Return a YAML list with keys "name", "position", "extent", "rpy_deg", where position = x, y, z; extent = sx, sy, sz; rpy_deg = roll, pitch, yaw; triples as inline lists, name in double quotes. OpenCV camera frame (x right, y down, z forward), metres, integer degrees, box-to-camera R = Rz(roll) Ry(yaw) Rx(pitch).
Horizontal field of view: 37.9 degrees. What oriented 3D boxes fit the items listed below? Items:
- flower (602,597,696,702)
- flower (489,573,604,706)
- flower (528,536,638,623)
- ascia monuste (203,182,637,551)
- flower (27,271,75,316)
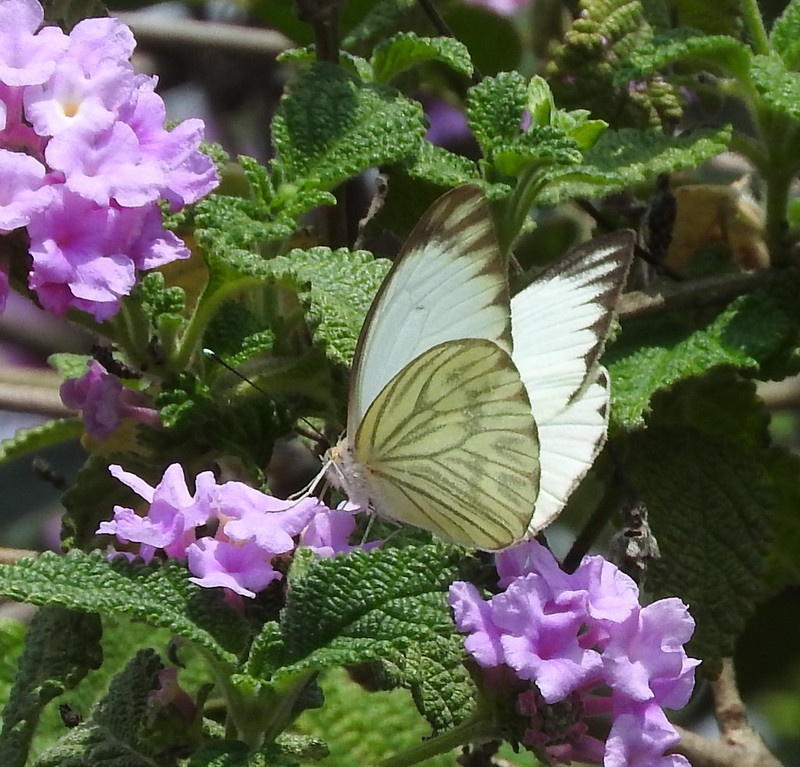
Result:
- name: "flower"
  position: [0.237, 0.245, 1.095]
  extent: [0.116, 0.054, 0.089]
  rpy_deg: [17, 76, -19]
- name: "flower"
  position: [0.131, 0.231, 1.069]
  extent: [0.093, 0.031, 0.112]
  rpy_deg: [-36, 62, -25]
- name: "flower"
  position: [0.179, 0.193, 1.121]
  extent: [0.032, 0.076, 0.069]
  rpy_deg: [-44, 65, 9]
- name: "ascia monuste"
  position: [0.083, -0.010, 1.438]
  extent: [0.470, 0.391, 0.410]
  rpy_deg: [8, 88, 10]
- name: "flower"
  position: [-0.340, -0.086, 1.138]
  extent: [0.048, 0.050, 0.023]
  rpy_deg: [10, 88, 5]
